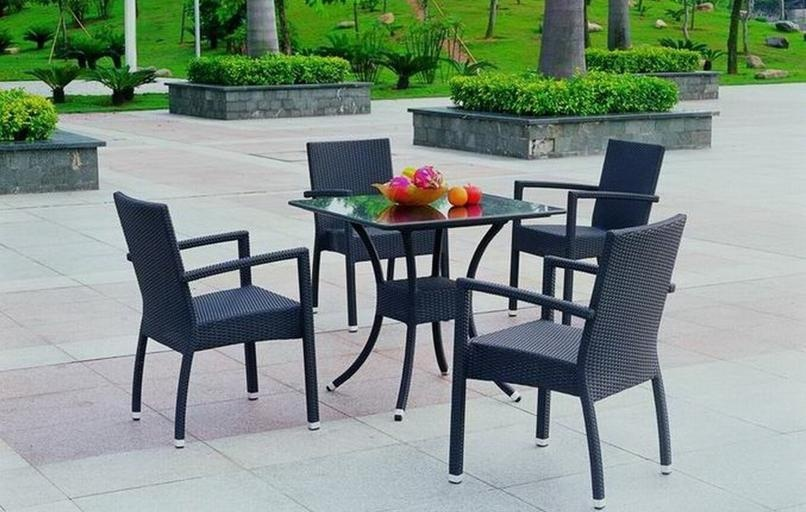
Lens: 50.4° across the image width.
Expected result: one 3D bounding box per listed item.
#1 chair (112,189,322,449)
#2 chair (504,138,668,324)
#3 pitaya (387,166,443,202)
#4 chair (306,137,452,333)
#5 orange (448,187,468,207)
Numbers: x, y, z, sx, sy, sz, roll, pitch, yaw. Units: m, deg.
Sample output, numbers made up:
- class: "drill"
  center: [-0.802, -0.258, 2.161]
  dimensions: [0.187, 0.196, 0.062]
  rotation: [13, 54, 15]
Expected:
- class: "chair"
  center: [-1.170, 0.323, 5.335]
  dimensions: [1.156, 1.402, 1.017]
  rotation: [-6, 19, -16]
- class: "chair"
  center: [1.533, -0.285, 7.183]
  dimensions: [1.291, 1.482, 1.017]
  rotation: [-2, 11, -14]
- class: "pitaya"
  center: [0.089, -0.478, 5.842]
  dimensions: [0.393, 0.261, 0.170]
  rotation: [-1, 19, -2]
- class: "chair"
  center: [-0.116, -0.235, 7.185]
  dimensions: [1.223, 1.516, 1.222]
  rotation: [-6, 15, -26]
- class: "orange"
  center: [0.384, -0.410, 5.891]
  dimensions: [0.167, 0.123, 0.144]
  rotation: [-6, 4, 7]
